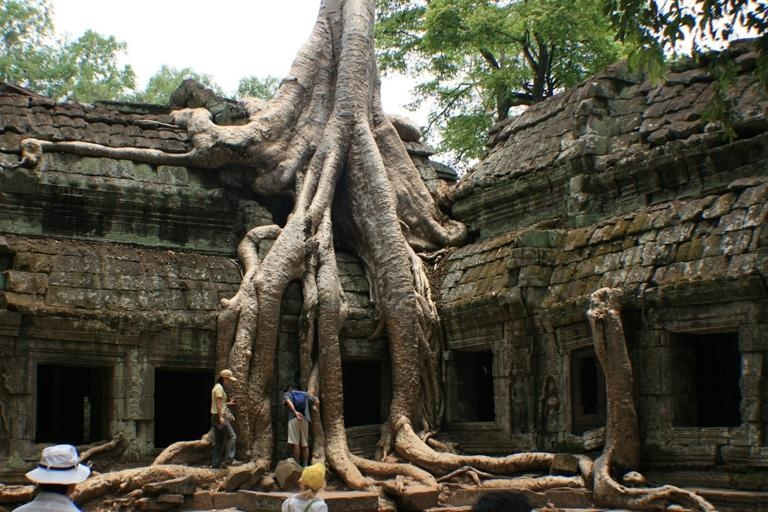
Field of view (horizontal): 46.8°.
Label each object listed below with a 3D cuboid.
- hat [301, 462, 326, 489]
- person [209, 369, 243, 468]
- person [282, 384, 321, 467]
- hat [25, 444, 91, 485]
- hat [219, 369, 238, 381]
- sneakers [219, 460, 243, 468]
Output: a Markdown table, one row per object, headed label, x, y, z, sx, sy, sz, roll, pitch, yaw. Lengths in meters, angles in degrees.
| label | x | y | z | sx | sy | sz | roll | pitch | yaw |
| --- | --- | --- | --- | --- | --- | --- | --- | --- | --- |
| hat | -0.594 | 1.879 | 7.664 | 0.249 | 0.260 | 0.196 | 3 | -43 | -16 |
| person | -2.124 | 2.150 | 11.843 | 0.344 | 1.304 | 0.581 | 2 | -18 | -10 |
| person | -1.135 | 2.304 | 12.127 | 0.437 | 1.135 | 0.754 | -2 | -18 | 3 |
| hat | -2.533 | 1.599 | 6.890 | 0.548 | 0.231 | 0.530 | 7 | -6 | -29 |
| hat | -2.082 | 1.593 | 11.845 | 0.229 | 0.073 | 0.139 | 10 | -1 | -4 |
| sneakers | -2.023 | 2.754 | 11.765 | 0.190 | 0.049 | 0.118 | -11 | -9 | 31 |
